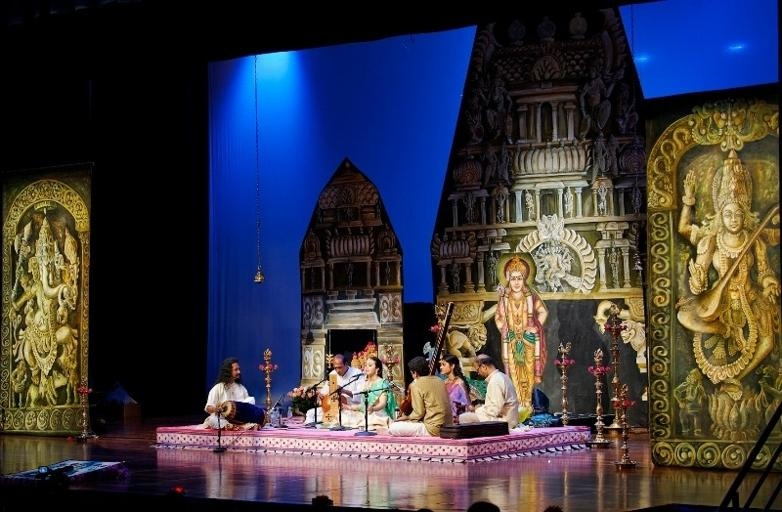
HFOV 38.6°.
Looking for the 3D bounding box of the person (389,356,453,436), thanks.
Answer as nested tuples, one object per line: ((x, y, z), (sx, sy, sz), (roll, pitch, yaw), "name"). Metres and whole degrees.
((0.389, 2.062, 16.635), (0.967, 1.250, 1.193), (-2, -7, 33), "person")

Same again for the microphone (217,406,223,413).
((-2.629, 2.405, 17.316), (0.072, 0.094, 0.037), (-18, -20, 35), "microphone")

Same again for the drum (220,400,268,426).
((-2.264, 2.506, 17.361), (0.673, 0.299, 0.304), (18, 1, -25), "drum")

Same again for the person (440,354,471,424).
((0.965, 2.094, 17.128), (0.480, 1.177, 0.600), (-1, -20, -9), "person")

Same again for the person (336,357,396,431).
((-0.370, 2.174, 17.617), (0.762, 1.113, 1.917), (2, -1, -5), "person")

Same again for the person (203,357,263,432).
((-2.463, 2.221, 17.561), (1.057, 1.110, 0.997), (-17, -21, 40), "person")
